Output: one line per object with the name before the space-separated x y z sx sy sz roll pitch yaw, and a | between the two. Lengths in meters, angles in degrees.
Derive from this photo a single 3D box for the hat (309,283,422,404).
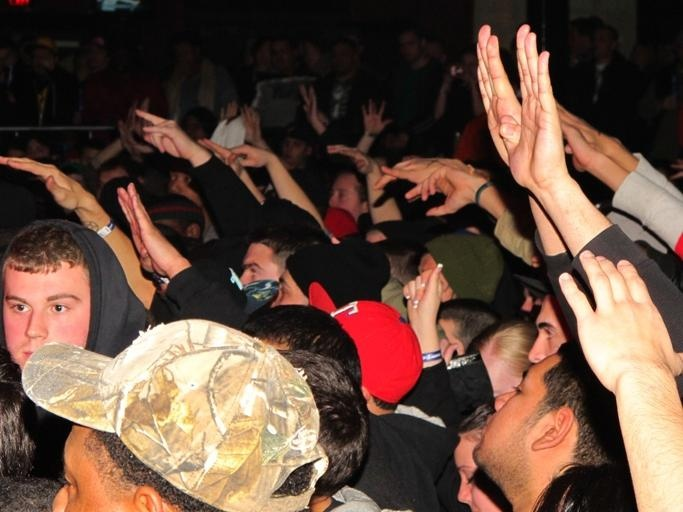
hat | 0.181 0.377 2.892 0.529 0.214 0.347 47 23 -8
